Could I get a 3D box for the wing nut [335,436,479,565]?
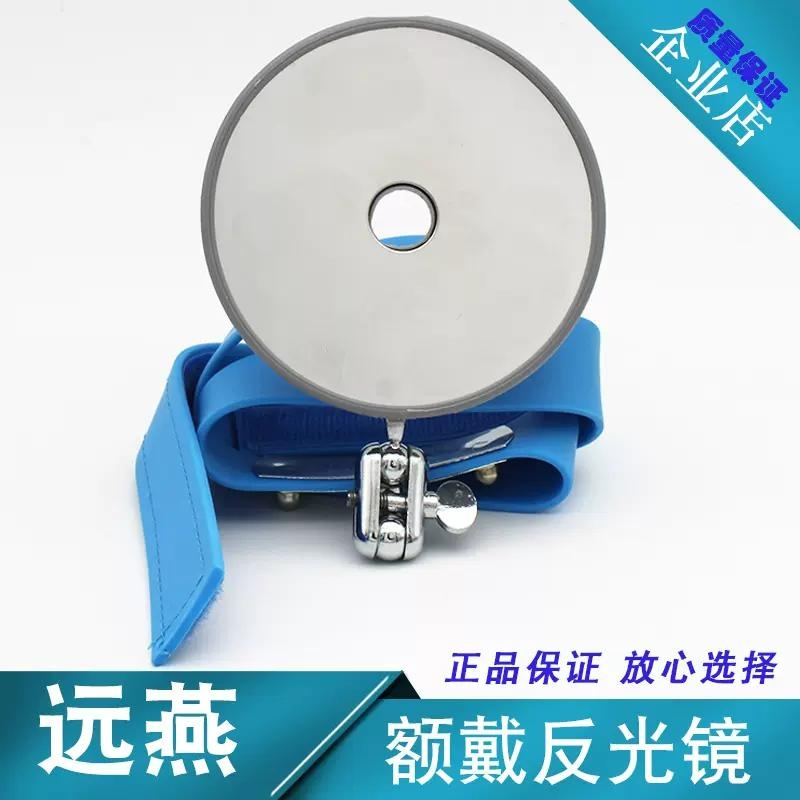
[{"bbox_3d":[0.014,0.120,1.121,0.155,0.131,0.118,12,-14,-16],"label":"wing nut"}]
